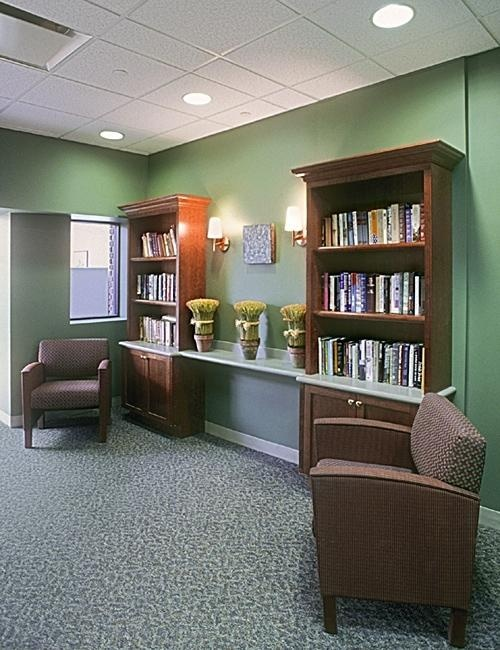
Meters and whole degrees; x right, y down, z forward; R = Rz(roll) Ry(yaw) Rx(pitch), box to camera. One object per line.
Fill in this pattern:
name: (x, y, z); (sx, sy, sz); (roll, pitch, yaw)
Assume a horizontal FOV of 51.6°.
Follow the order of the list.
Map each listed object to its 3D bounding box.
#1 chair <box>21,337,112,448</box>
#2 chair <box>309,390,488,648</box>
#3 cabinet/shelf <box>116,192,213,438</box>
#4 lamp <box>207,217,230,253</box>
chair: (-1.332, 0.460, 3.792); (0.574, 0.648, 0.728); (-1, 6, -17)
chair: (0.502, 0.639, 1.897); (0.534, 0.689, 0.590); (2, 6, 10)
cabinet/shelf: (-0.668, -0.085, 3.983); (0.408, 1.721, 0.852); (-4, 7, -41)
lamp: (-0.260, -0.651, 3.709); (0.153, 0.254, 0.274); (-2, 6, -26)
